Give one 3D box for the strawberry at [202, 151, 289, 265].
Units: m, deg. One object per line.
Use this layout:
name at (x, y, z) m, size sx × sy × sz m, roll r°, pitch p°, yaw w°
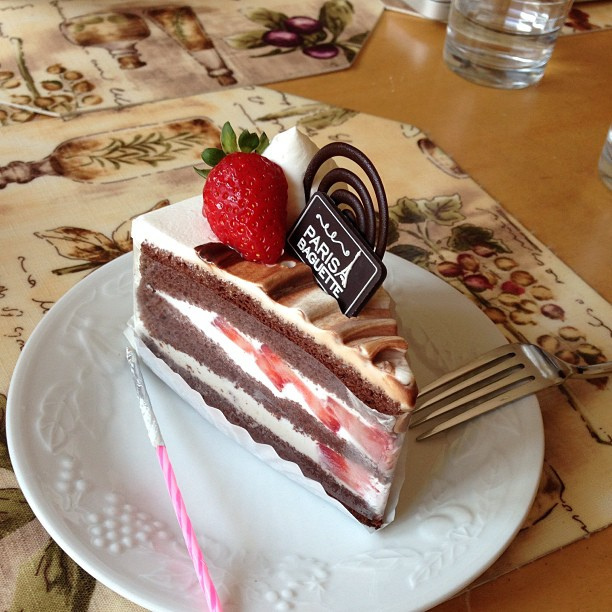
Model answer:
strawberry at (-0.097, -0.156, 1.027) m, size 0.128 × 0.143 × 0.150 m, roll -1°, pitch 55°, yaw -7°
